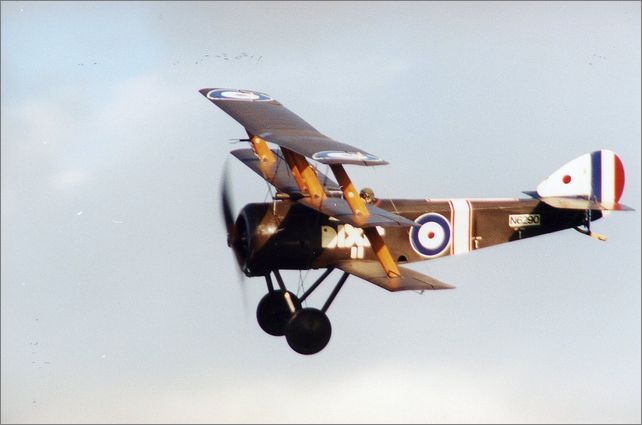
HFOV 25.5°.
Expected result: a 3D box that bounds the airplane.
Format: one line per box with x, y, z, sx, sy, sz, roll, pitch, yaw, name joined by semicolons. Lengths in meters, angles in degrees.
1.931;0.351;33.159;6.838;3.755;8.570;0;16;-26;airplane
